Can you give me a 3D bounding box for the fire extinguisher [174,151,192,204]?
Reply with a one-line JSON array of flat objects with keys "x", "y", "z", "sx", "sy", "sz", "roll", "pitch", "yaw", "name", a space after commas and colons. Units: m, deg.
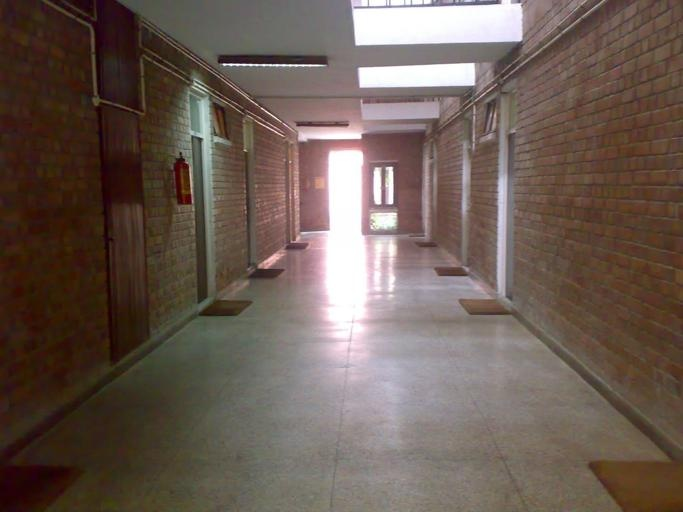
[{"x": -1.840, "y": -0.863, "z": 5.057, "sx": 0.138, "sy": 0.561, "sz": 0.166, "roll": 9, "pitch": 14, "yaw": 41, "name": "fire extinguisher"}]
